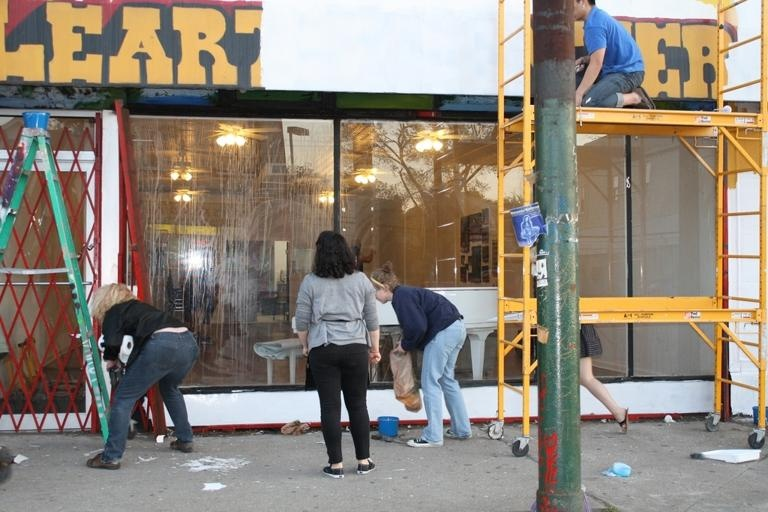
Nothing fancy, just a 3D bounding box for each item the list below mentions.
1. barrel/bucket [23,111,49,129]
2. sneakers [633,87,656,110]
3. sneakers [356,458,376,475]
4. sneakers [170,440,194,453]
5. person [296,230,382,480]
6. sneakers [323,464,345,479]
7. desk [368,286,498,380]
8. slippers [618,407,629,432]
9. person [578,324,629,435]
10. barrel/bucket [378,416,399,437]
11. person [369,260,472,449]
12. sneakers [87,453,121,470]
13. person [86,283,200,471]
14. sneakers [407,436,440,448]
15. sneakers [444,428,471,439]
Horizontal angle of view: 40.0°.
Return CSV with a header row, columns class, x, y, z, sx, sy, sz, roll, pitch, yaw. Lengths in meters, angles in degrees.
class,x,y,z,sx,sy,sz,roll,pitch,yaw
barrel/bucket,-3.997,-1.568,12.183,0.215,0.166,0.208,1,0,0
sneakers,3.209,-1.970,13.140,0.155,0.381,0.126,-11,-16,-7
sneakers,-0.203,2.345,11.841,0.104,0.119,0.268,0,0,15
sneakers,-2.364,2.237,12.500,0.286,0.136,0.113,9,3,34
person,-0.516,1.102,11.751,0.921,2.647,0.721,0,12,-1
sneakers,-0.544,2.379,11.697,0.101,0.114,0.256,2,2,-34
desk,0.750,0.647,14.156,1.686,1.310,1.108,-3,-19,-10
slippers,2.884,1.965,12.814,0.101,0.422,0.145,-7,6,6
person,2.666,1.525,12.871,0.605,1.430,0.748,3,13,13
barrel/bucket,0.037,2.086,13.038,0.228,0.177,0.235,3,4,0
person,0.500,1.184,12.739,1.100,2.119,0.722,1,12,3
sneakers,-3.153,2.329,11.966,0.333,0.152,0.167,6,-2,13
person,-2.741,1.345,12.089,1.176,2.005,0.672,-4,13,-17
sneakers,0.481,2.256,12.705,0.380,0.162,0.144,5,-16,6
sneakers,0.891,2.168,12.941,0.322,0.147,0.123,-7,-11,31
